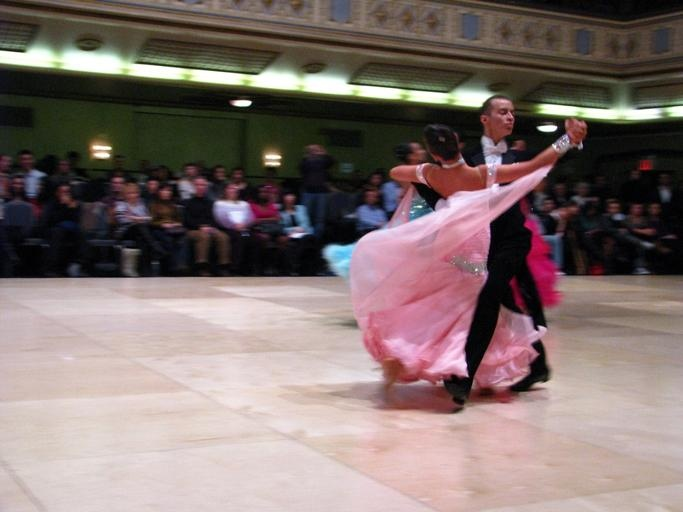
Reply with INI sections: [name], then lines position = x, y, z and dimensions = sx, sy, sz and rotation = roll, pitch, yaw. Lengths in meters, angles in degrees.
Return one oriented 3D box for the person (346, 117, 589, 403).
[person]
position = 0.572, 0.023, 3.382
dimensions = 1.161, 1.173, 0.519
rotation = 3, 1, 8
